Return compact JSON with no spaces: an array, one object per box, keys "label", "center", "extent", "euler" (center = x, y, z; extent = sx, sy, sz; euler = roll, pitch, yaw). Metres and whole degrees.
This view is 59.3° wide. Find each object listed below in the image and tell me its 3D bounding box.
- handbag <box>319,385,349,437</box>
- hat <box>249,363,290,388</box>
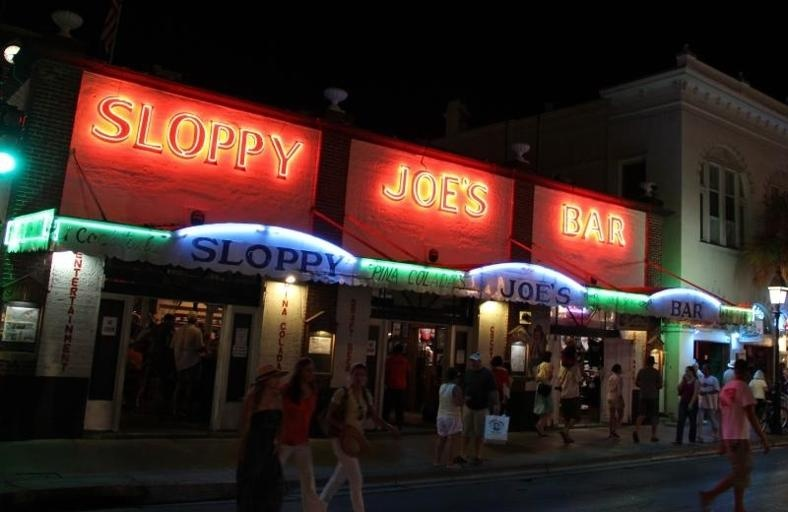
[{"label":"handbag","center":[-1.079,2.808,12.445],"extent":[0.418,0.872,0.230],"euler":[0,-13,17]},{"label":"hat","center":[-2.100,1.994,11.574],"extent":[0.457,0.346,0.381],"euler":[4,-12,-2]}]
